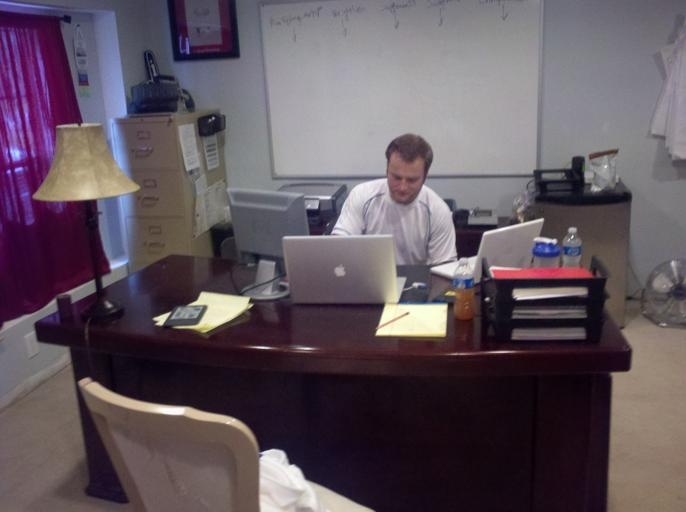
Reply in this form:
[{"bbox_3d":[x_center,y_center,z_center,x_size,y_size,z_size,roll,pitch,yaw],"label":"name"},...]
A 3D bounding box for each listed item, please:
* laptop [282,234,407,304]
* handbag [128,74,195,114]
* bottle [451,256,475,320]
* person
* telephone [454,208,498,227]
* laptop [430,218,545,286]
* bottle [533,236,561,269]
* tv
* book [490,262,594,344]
[{"bbox_3d":[-0.009,0.055,2.436,0.429,0.324,0.320,1,24,7],"label":"laptop"},{"bbox_3d":[-1.430,-1.255,4.334,0.368,0.256,0.390,1,13,13],"label":"handbag"},{"bbox_3d":[0.530,0.120,2.399,0.097,0.262,0.211,2,17,13],"label":"bottle"},{"bbox_3d":[0.382,-0.395,3.561,0.689,0.951,0.581,9,48,9],"label":"person"},{"bbox_3d":[1.017,-0.297,4.244,0.195,0.087,0.228,2,21,10],"label":"telephone"},{"bbox_3d":[0.694,-0.089,2.659,0.416,0.273,0.338,-11,23,-28],"label":"laptop"},{"bbox_3d":[0.918,-0.016,2.500,0.125,0.191,0.114,-1,16,0],"label":"bottle"},{"bbox_3d":[-0.360,-0.048,2.659,0.423,0.552,0.289,5,17,18],"label":"tv"},{"bbox_3d":[0.813,0.186,2.157,0.370,0.216,0.278,1,14,5],"label":"book"}]
